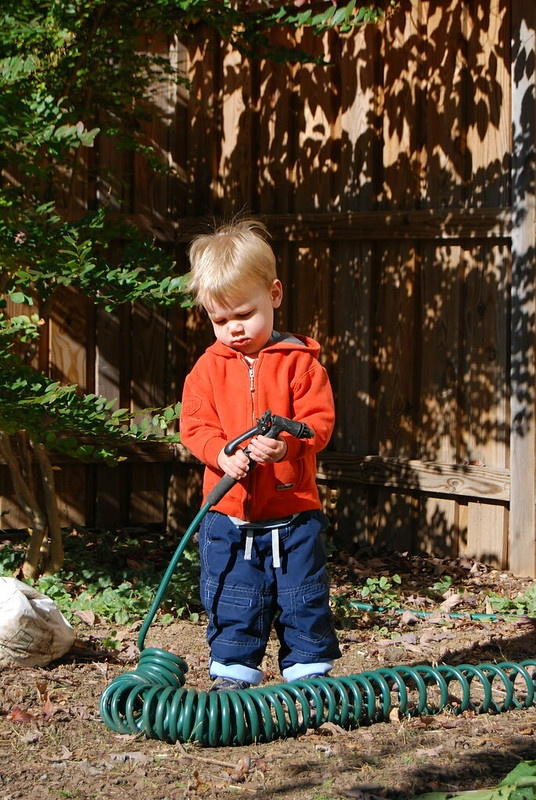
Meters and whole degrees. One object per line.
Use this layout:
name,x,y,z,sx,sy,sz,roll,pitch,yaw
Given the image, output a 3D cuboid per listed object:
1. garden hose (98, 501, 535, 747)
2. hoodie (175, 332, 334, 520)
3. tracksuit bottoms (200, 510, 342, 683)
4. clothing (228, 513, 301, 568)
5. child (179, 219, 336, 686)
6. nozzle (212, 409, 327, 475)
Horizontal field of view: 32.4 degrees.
garden hose,0.203,0.688,2.854,1.306,0.638,0.594,5,-11,-6
hoodie,-0.051,0.051,2.845,0.403,0.578,0.391,3,1,2
tracksuit bottoms,0.008,0.598,2.807,0.379,0.529,0.219,-1,-14,-2
clothing,-0.006,0.406,2.736,0.154,0.156,0.129,-5,-14,-4
child,0.000,0.215,2.788,0.426,1.417,0.482,-1,-2,-21
nozzle,-0.001,0.117,2.632,0.225,0.110,0.048,-28,39,2
